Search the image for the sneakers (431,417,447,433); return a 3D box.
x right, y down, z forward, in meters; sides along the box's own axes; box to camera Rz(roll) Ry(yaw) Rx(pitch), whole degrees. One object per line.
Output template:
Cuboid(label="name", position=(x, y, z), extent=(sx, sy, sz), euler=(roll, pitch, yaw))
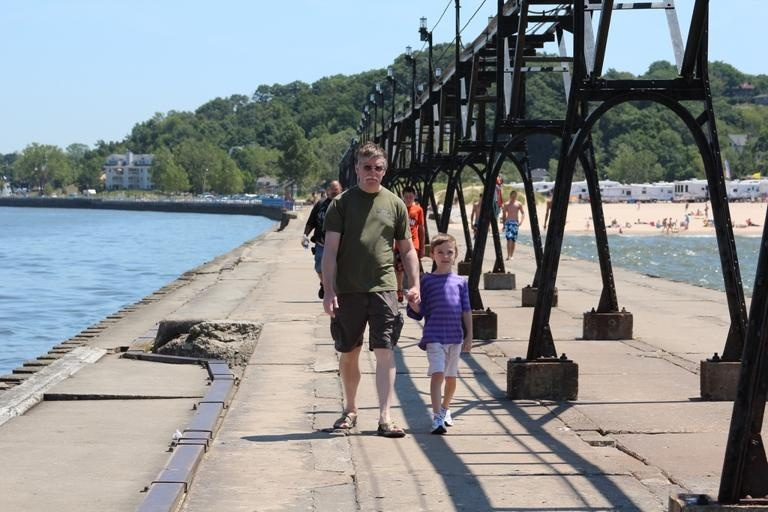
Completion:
Cuboid(label="sneakers", position=(0.546, 1.811, 12.220), extent=(0.166, 0.176, 0.165), euler=(-1, 10, 3))

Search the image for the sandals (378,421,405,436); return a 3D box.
Cuboid(label="sandals", position=(0.022, 1.845, 12.134), extent=(0.315, 0.142, 0.204), euler=(-1, 10, 1))

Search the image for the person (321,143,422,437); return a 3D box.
Cuboid(label="person", position=(-0.219, 0.344, 12.271), extent=(1.082, 3.063, 0.951), euler=(0, 10, 8))
